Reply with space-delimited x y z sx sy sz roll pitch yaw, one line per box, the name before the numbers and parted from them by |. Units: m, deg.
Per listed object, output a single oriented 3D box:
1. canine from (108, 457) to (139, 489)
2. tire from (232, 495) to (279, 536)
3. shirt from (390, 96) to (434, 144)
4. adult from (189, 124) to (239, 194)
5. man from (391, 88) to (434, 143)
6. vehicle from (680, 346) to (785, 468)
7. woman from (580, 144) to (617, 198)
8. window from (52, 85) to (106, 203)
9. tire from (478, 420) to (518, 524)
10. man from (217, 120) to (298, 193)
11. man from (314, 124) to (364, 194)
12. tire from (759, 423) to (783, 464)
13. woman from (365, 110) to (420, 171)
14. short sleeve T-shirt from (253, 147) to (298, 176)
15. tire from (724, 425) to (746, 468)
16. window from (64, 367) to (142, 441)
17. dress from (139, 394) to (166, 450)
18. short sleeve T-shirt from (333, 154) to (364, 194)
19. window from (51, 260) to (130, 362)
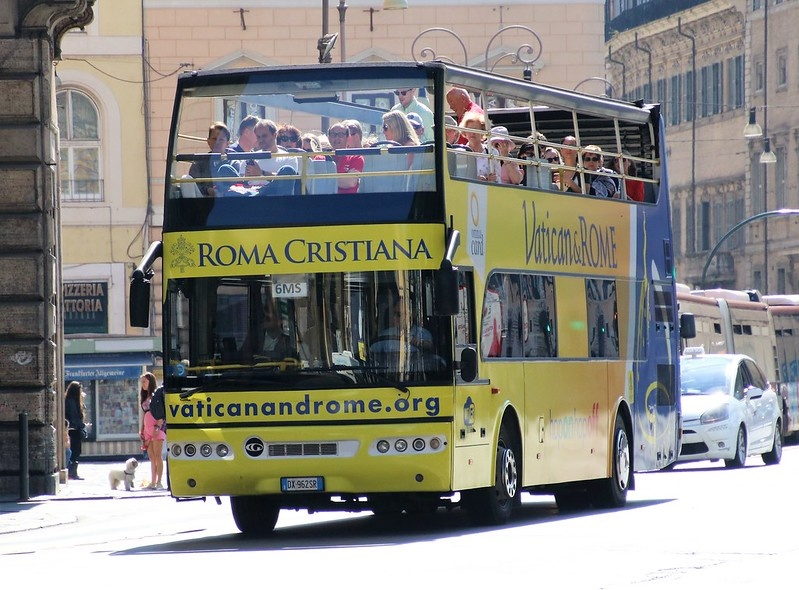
canine | -4.678 2.982 32.056 0.458 0.498 1.025 0 2 -2
tire | -1.791 2.700 23.705 0.498 0.745 0.244 -3 3 -38
shirt | 0.182 -2.098 22.839 0.518 0.459 0.262 2 2 29
adult | -2.222 -1.570 22.970 0.614 1.085 0.701 1 16 -13
man | 0.184 -2.150 22.857 0.411 0.973 0.334 -12 -19 30
vehicle | 5.912 2.083 34.623 1.553 1.272 2.621 -5 -10 24
woman | 2.790 -1.543 26.418 0.417 1.109 0.479 -9 -35 4
window | -8.058 -3.760 46.495 1.594 3.182 0.316 -2 37 -11
tire | 1.219 2.136 23.475 0.365 1.225 1.012 -1 14 19
man | -1.670 -1.704 22.931 0.814 1.178 0.825 -5 -18 17
man | -0.694 -1.623 22.790 0.594 1.249 0.646 -3 -17 6
tire | 7.009 2.733 35.634 0.210 0.723 0.683 -2 10 20
woman | -0.033 -1.911 22.670 0.398 0.386 0.706 -7 -9 21
short sleeve T-shirt | -1.466 -1.594 22.828 0.480 0.497 0.269 -4 -37 -10
tire | 5.959 2.623 33.555 0.250 0.769 0.729 -1 -2 13
window | -6.225 2.141 39.866 1.766 1.813 1.466 -3 1 -6
dress | -4.173 2.099 32.410 0.340 1.110 1.089 -1 3 -18
short sleeve T-shirt | -0.594 -1.439 22.639 0.388 0.515 0.260 -1 -13 7
window | -6.721 0.310 41.485 2.034 3.114 0.285 -1 2 4
